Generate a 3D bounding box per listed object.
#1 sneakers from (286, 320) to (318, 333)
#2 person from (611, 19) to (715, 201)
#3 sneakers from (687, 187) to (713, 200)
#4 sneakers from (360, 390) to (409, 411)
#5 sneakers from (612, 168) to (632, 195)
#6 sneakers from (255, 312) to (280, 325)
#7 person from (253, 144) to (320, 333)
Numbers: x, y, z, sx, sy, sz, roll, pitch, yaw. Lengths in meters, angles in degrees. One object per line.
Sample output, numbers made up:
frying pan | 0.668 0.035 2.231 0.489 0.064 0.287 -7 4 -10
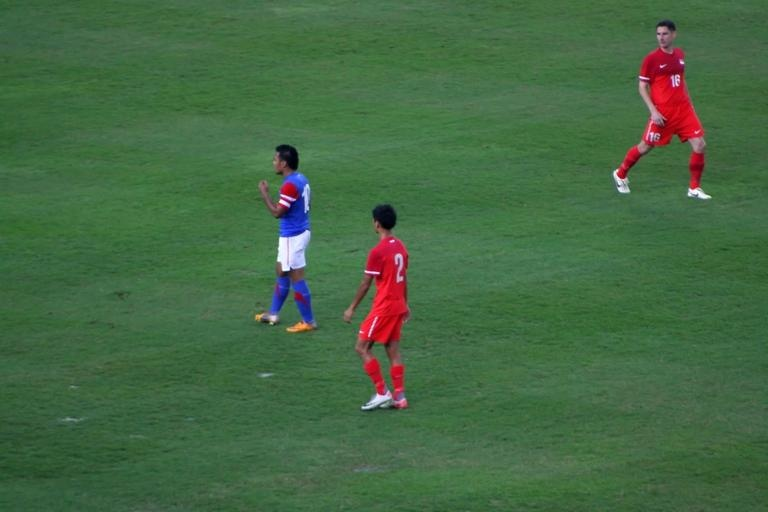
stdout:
sneakers | -1.151 0.973 22.584 0.342 0.117 0.174 1 5 2
person | 4.340 -2.209 24.914 1.442 2.716 0.699 6 25 10
sneakers | 4.875 -0.955 25.213 0.336 0.116 0.163 4 18 4
sneakers | 0.047 1.889 21.342 0.700 0.239 0.225 -1 2 -8
sneakers | 3.712 -1.151 25.432 0.204 0.436 0.198 -25 10 41
sneakers | -1.616 0.873 22.712 0.407 0.155 0.133 10 27 13
person | -1.323 -0.225 22.465 0.776 2.477 0.930 0 25 -5
